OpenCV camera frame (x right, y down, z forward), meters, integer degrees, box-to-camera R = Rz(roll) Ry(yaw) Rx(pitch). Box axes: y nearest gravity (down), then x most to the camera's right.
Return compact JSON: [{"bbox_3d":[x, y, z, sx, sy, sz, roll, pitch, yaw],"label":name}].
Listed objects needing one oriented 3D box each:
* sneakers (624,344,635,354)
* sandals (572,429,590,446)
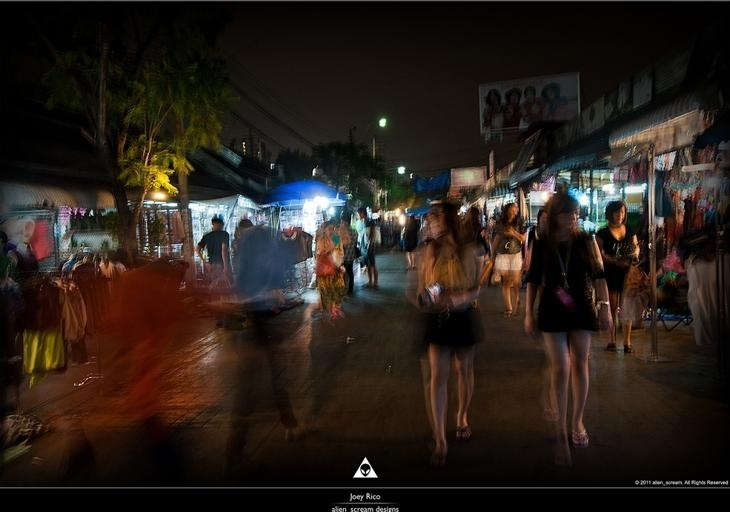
[{"bbox_3d":[3.879,1.369,7.267,0.131,0.132,0.120,-1,-9,-9],"label":"sneakers"},{"bbox_3d":[2.186,1.841,4.996,0.170,0.149,0.103,-1,12,6],"label":"sandals"}]
